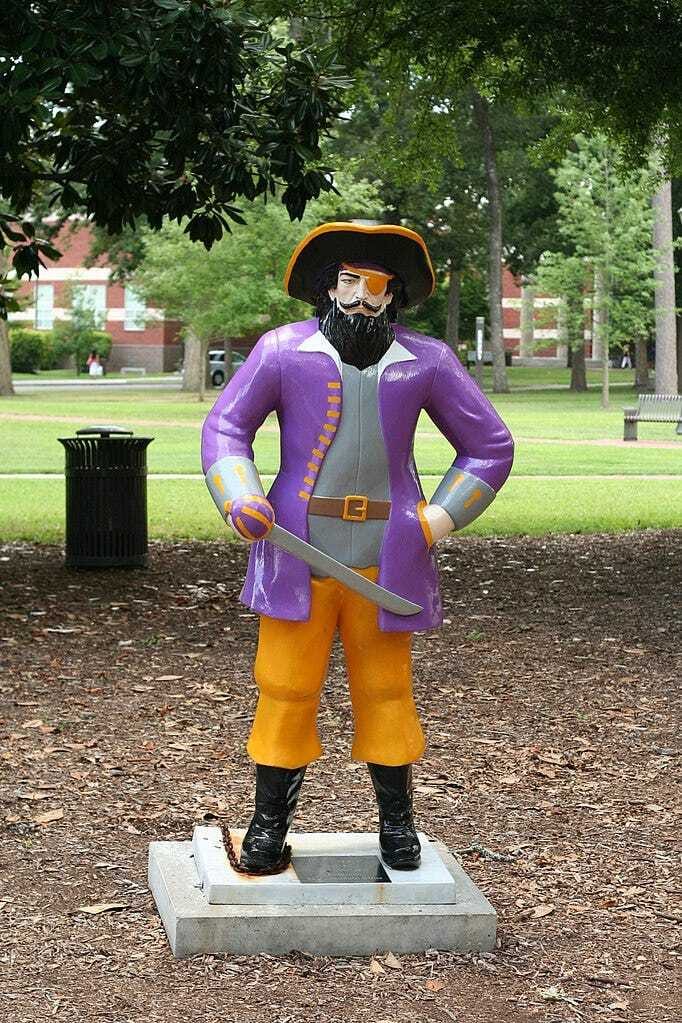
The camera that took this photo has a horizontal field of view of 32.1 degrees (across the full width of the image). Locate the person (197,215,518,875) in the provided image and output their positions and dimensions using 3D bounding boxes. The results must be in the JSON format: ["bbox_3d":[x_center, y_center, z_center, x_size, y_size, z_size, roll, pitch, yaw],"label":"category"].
[{"bbox_3d":[0.063,0.105,2.974,0.811,1.657,0.464,-7,9,-21],"label":"person"}]

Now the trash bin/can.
[{"bbox_3d":[-1.660,-0.103,8.381,0.655,1.010,0.284,-5,8,-12],"label":"trash bin/can"}]
